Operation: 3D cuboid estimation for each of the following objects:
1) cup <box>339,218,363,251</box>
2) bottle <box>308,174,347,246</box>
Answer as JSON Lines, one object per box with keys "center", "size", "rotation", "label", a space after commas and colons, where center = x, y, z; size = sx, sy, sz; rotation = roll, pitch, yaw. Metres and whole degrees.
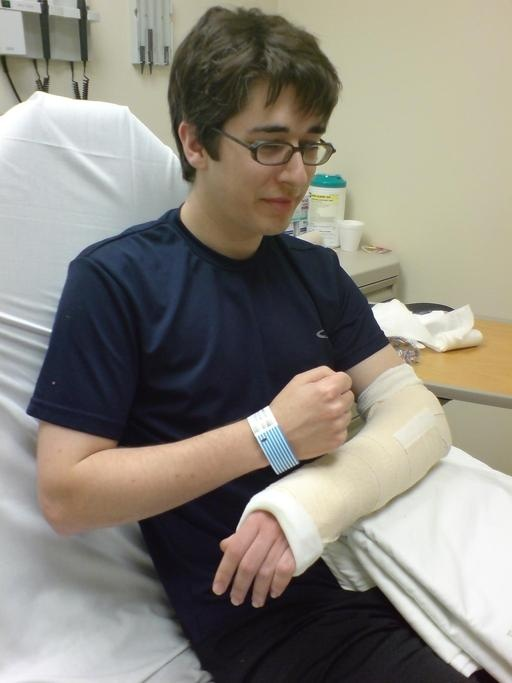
{"center": [0.346, -0.427, 2.215], "size": [0.124, 0.120, 0.115], "rotation": [3, 22, -1], "label": "cup"}
{"center": [0.273, -0.529, 2.258], "size": [0.173, 0.272, 0.169], "rotation": [0, 17, 0], "label": "bottle"}
